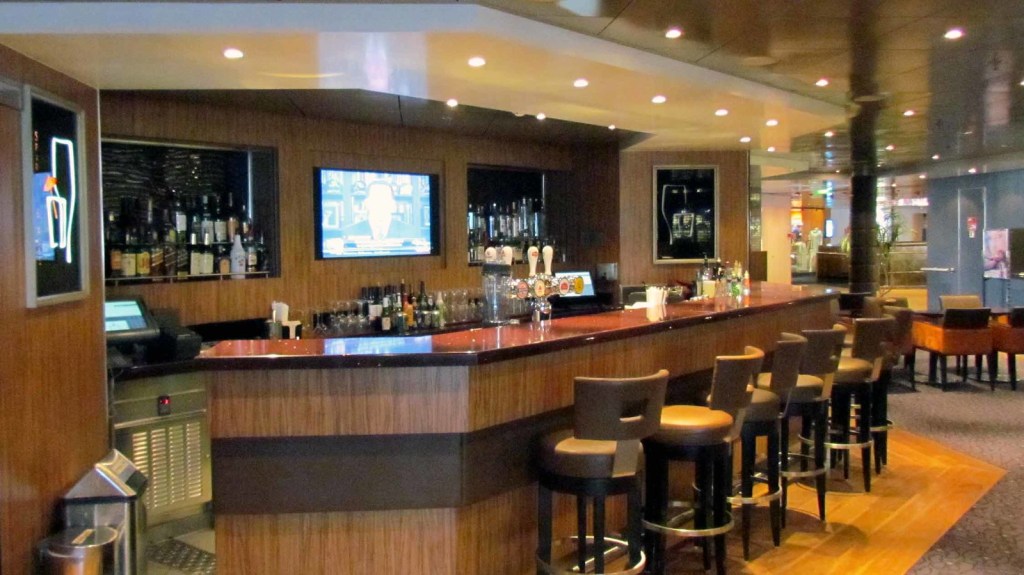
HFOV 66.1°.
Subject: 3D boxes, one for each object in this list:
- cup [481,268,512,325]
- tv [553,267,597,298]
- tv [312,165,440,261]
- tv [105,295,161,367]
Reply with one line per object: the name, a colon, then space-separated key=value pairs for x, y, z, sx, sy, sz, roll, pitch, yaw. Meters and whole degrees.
cup: x=-0.199 y=0.089 z=7.661 sx=0.383 sy=0.536 sz=0.336 roll=-2 pitch=-1 yaw=-1
tv: x=0.719 y=-0.041 z=8.893 sx=0.452 sy=0.367 sz=0.158 roll=-1 pitch=20 yaw=3
tv: x=-1.645 y=-0.867 z=9.124 sx=1.348 sy=0.785 sz=0.048 roll=-2 pitch=5 yaw=-27
tv: x=-3.768 y=0.424 z=7.537 sx=0.498 sy=0.588 sz=0.418 roll=-3 pitch=29 yaw=-44
